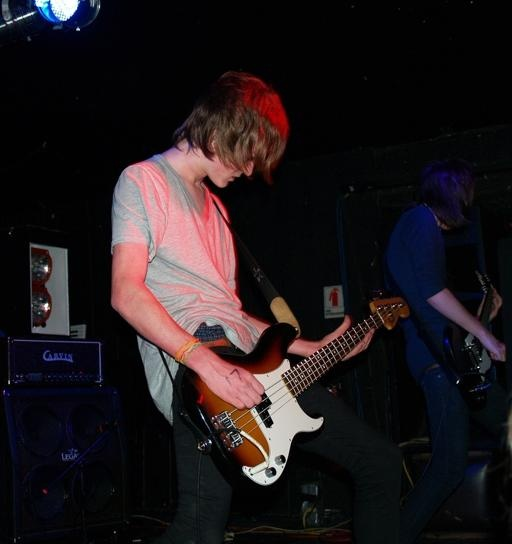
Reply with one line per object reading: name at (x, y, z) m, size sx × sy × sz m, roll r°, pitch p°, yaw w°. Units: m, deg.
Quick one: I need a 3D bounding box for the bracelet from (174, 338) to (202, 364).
bracelet at (-0.156, 0.177, 1.123) m, size 0.052 × 0.014 × 0.042 m, roll -35°, pitch -41°, yaw 2°

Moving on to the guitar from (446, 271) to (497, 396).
guitar at (1.478, 0.396, 3.303) m, size 0.334 × 0.978 × 0.137 m, roll 12°, pitch -34°, yaw 24°

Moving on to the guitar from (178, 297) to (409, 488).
guitar at (0.163, 0.318, 1.555) m, size 0.182 × 0.469 × 0.985 m, roll -8°, pitch 2°, yaw 34°

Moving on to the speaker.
speaker at (-1.060, 1.063, 2.714) m, size 0.334 × 0.972 × 0.731 m, roll -12°, pitch -14°, yaw 34°
